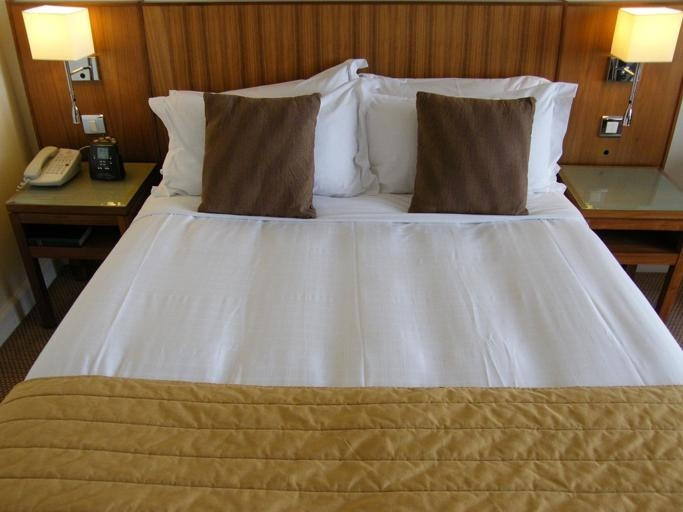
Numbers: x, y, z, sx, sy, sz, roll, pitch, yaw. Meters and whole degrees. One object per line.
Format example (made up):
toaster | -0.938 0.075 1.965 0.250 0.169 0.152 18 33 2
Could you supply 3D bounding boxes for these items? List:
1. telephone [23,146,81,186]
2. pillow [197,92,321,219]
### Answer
telephone | -1.529 -0.469 2.489 0.188 0.116 0.282 3 41 3
pillow | -0.379 -0.469 2.078 0.523 0.580 0.165 3 3 4
